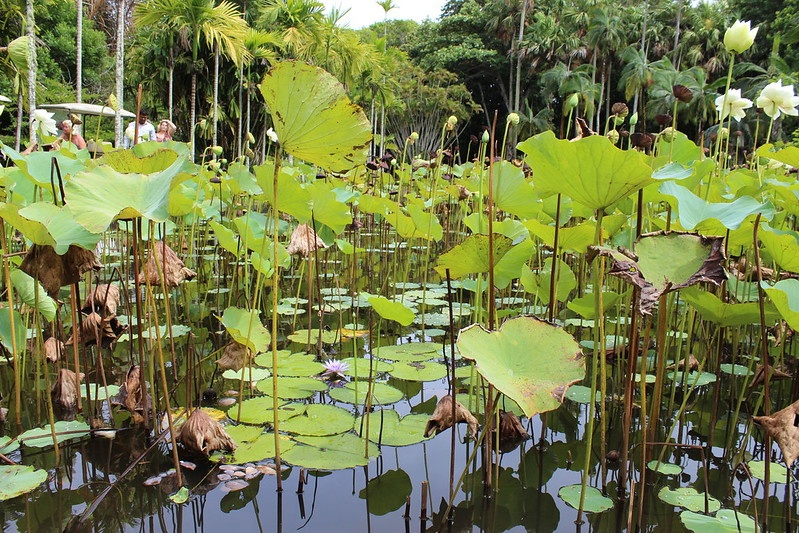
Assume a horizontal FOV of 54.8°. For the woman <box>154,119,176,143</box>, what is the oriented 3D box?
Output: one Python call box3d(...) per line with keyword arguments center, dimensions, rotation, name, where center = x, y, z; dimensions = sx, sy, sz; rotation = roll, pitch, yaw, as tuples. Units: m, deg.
box3d(center=(-1.962, -1.126, 6.454), dimensions=(0.136, 0.206, 0.593), rotation=(0, -2, -19), name="woman")
